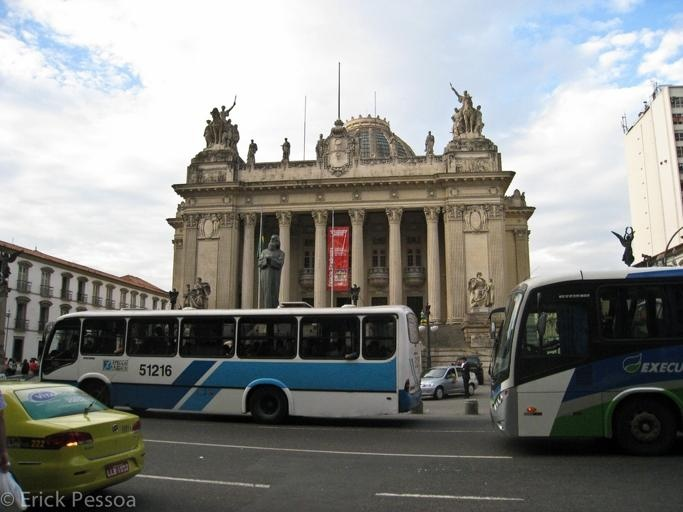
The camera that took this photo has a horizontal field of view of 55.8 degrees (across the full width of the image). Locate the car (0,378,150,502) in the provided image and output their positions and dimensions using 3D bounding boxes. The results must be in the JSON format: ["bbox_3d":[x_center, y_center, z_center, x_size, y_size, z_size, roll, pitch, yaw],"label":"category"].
[{"bbox_3d":[-4.474,3.042,10.668,2.088,1.881,1.140,3,-9,-29],"label":"car"}]
